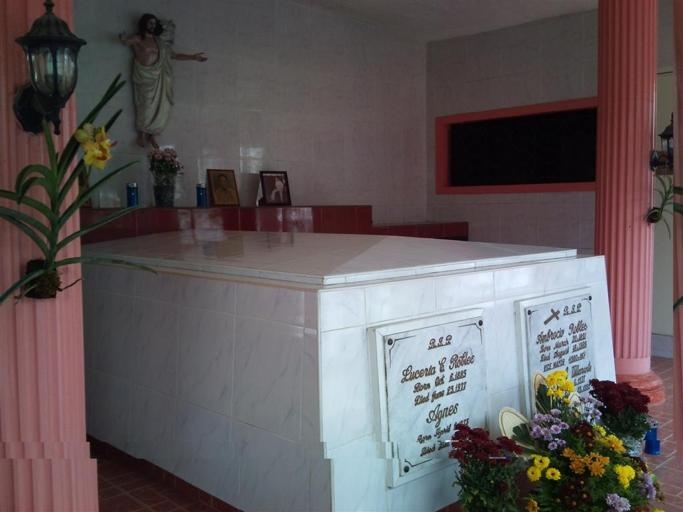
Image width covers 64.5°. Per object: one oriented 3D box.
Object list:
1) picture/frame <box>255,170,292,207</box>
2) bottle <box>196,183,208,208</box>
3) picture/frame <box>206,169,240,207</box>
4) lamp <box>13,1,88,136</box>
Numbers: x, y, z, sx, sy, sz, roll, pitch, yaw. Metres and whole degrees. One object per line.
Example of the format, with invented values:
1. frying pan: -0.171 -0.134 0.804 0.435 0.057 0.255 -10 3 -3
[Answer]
1. picture/frame: -0.748 -0.726 5.819 0.362 0.381 0.138 -11 17 -37
2. bottle: -1.324 -0.587 5.152 0.099 0.214 0.279 -4 8 -13
3. picture/frame: -1.206 -0.690 5.447 0.144 0.454 0.380 -1 4 43
4. lamp: -0.931 -0.618 1.718 0.238 0.446 0.190 5 10 45
